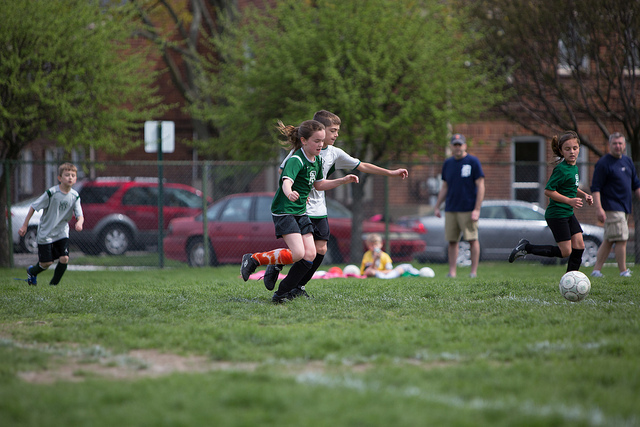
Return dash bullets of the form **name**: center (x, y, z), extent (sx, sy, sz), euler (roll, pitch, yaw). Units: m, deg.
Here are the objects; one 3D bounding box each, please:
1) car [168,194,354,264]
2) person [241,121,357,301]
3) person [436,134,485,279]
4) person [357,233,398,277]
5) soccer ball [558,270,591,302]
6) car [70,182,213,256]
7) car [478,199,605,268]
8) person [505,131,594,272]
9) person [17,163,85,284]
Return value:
- **car**: center (-1.218, 0.271, 16.569), extent (3.254, 1.129, 1.542), euler (-2, 1, -4)
- **person**: center (-0.301, -0.038, 11.444), extent (0.940, 2.463, 0.895), euler (-1, 1, -40)
- **person**: center (2.351, -0.136, 13.800), extent (0.741, 2.420, 1.102), euler (0, 0, 8)
- **person**: center (1.020, 0.755, 14.844), extent (0.583, 0.863, 0.716), euler (0, -9, -31)
- **soccer ball**: center (3.506, 0.952, 11.346), extent (0.384, 0.441, 0.393), euler (18, 10, -3)
- **car**: center (-3.678, 0.036, 16.878), extent (2.946, 1.270, 1.490), euler (-2, -1, 5)
- **car**: center (4.484, 0.398, 17.181), extent (2.798, 0.993, 1.298), euler (1, 1, -3)
- **person**: center (3.554, -0.204, 12.380), extent (0.969, 2.069, 0.716), euler (0, 1, 35)
- **person**: center (-4.109, 0.157, 12.703), extent (0.858, 1.884, 0.531), euler (0, 0, -17)
